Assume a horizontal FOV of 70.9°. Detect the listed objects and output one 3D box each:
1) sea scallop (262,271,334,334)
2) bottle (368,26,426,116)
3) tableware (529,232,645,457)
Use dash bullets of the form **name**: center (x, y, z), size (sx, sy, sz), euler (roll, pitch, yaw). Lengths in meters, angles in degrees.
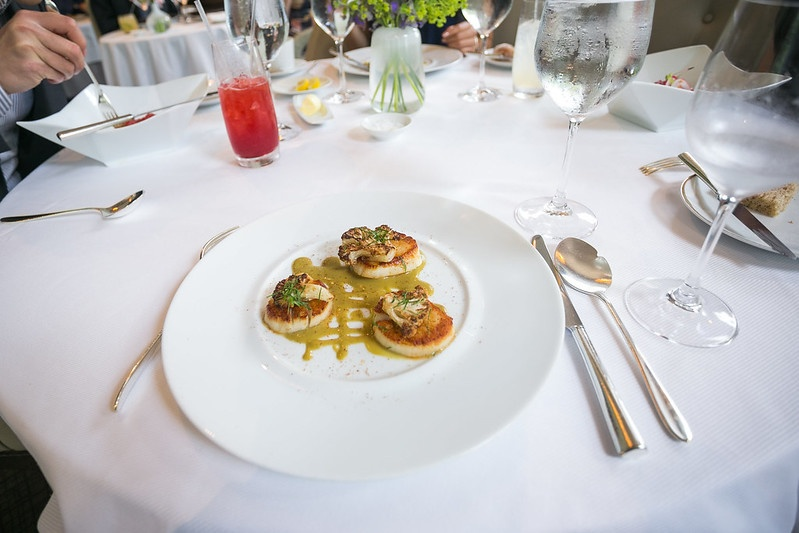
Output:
- **sea scallop**: center (-0.205, 0.079, 1.127), size (0.097, 0.047, 0.127), euler (4, 35, -4)
- **bottle**: center (-0.009, -0.639, 1.842), size (0.233, 0.349, 0.231), euler (0, 32, 0)
- **tableware**: center (0.353, 0.106, 1.118), size (0.066, 0.030, 0.522), euler (-8, 51, -4)
